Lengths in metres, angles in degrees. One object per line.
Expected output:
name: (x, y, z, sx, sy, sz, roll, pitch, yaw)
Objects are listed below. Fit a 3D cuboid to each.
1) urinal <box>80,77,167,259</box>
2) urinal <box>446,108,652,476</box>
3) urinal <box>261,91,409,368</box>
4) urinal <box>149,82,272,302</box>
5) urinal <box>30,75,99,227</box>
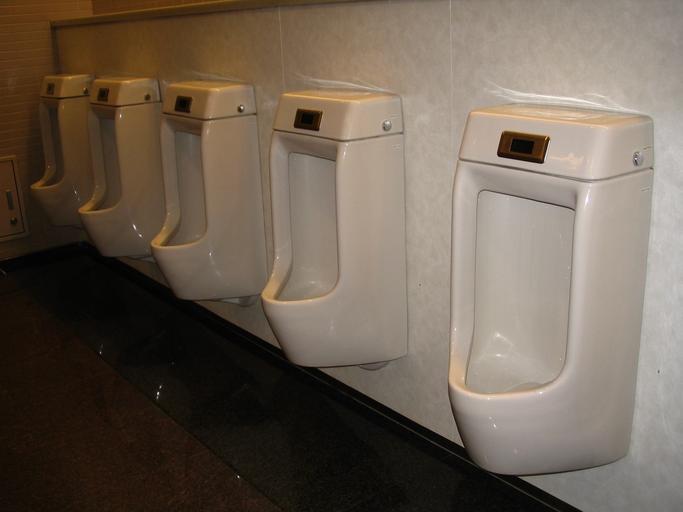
urinal: (-1.382, -0.556, 3.483, 0.503, 1.007, 0.483, -14, 20, -43)
urinal: (0.617, 0.089, 1.704, 0.493, 1.163, 0.607, 1, 26, -6)
urinal: (-0.066, -0.093, 2.326, 0.508, 1.080, 0.524, -10, 16, -37)
urinal: (-0.696, -0.345, 2.915, 0.537, 1.247, 0.547, -12, 28, -30)
urinal: (-1.985, -0.755, 4.061, 0.503, 0.969, 0.395, -13, 20, -40)
